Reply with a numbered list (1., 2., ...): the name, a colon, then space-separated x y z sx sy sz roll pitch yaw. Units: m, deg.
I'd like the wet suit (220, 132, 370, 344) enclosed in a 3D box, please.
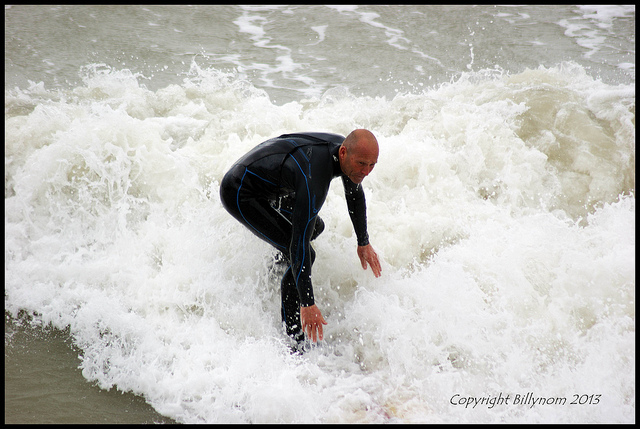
1. wet suit: -0.297 0.178 5.954 1.197 1.862 1.097 15 32 27
